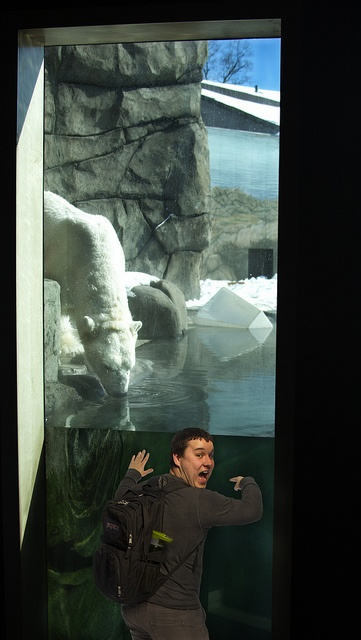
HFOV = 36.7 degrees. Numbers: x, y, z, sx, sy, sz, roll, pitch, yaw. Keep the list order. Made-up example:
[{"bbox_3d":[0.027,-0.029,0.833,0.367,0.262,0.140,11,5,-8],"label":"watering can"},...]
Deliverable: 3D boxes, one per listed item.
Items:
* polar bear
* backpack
[{"bbox_3d":[-0.354,-0.101,2.259,0.324,0.923,0.278,16,19,38],"label":"polar bear"},{"bbox_3d":[-0.096,0.639,1.562,0.271,0.334,0.257,1,13,-18],"label":"backpack"}]
